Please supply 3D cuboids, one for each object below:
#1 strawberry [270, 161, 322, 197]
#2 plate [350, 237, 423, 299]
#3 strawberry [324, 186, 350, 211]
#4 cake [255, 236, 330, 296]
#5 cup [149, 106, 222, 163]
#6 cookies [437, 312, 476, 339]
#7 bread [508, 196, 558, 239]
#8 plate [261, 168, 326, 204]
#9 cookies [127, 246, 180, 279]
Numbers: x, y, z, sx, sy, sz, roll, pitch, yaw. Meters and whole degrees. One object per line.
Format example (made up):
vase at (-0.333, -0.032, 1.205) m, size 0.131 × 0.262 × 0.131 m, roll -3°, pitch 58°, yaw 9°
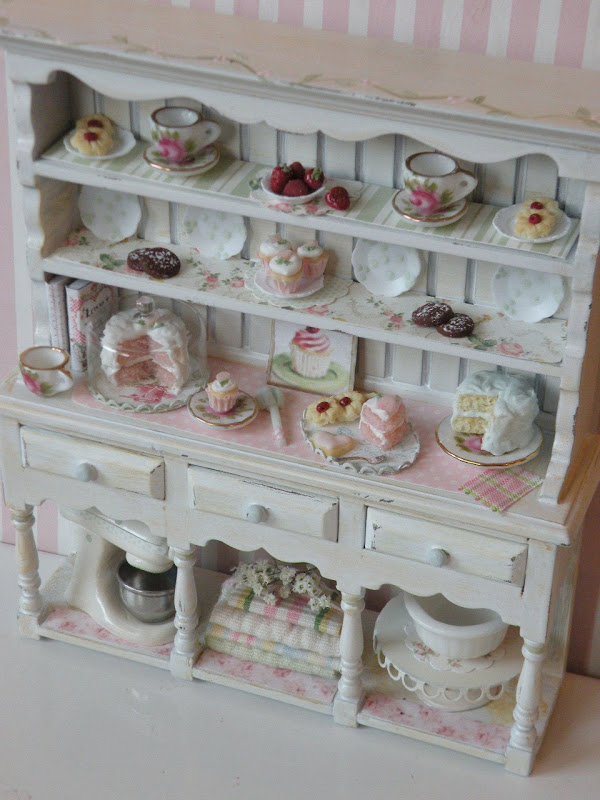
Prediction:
strawberry at (-0.010, -0.466, 1.670) m, size 0.093 × 0.045 × 0.096 m, roll 7°, pitch 30°, yaw 7°
plate at (0.197, -0.304, 1.820) m, size 0.152 × 0.136 × 0.026 m, roll -7°, pitch 12°, yaw 36°
strawberry at (0.080, -0.413, 1.634) m, size 0.053 × 0.053 × 0.024 m, roll -4°, pitch -10°, yaw -16°
cake at (-0.013, -0.302, 1.841) m, size 0.152 × 0.096 × 0.158 m, roll 27°, pitch 40°, yaw 37°
cup at (-0.248, -0.581, 1.789) m, size 0.175 × 0.103 × 0.120 m, roll 13°, pitch 55°, yaw 5°
cookies at (0.343, -0.161, 1.690) m, size 0.070 × 0.035 × 0.110 m, roll 18°, pitch 28°, yaw 36°
bread at (0.452, -0.345, 1.514) m, size 0.078 × 0.059 × 0.100 m, roll 8°, pitch 24°, yaw 19°
plate at (-0.015, -0.452, 1.690) m, size 0.138 × 0.052 × 0.128 m, roll 0°, pitch 23°, yaw 1°
cookies at (-0.353, -0.333, 1.885) m, size 0.106 × 0.027 × 0.087 m, roll 12°, pitch 38°, yaw 14°
